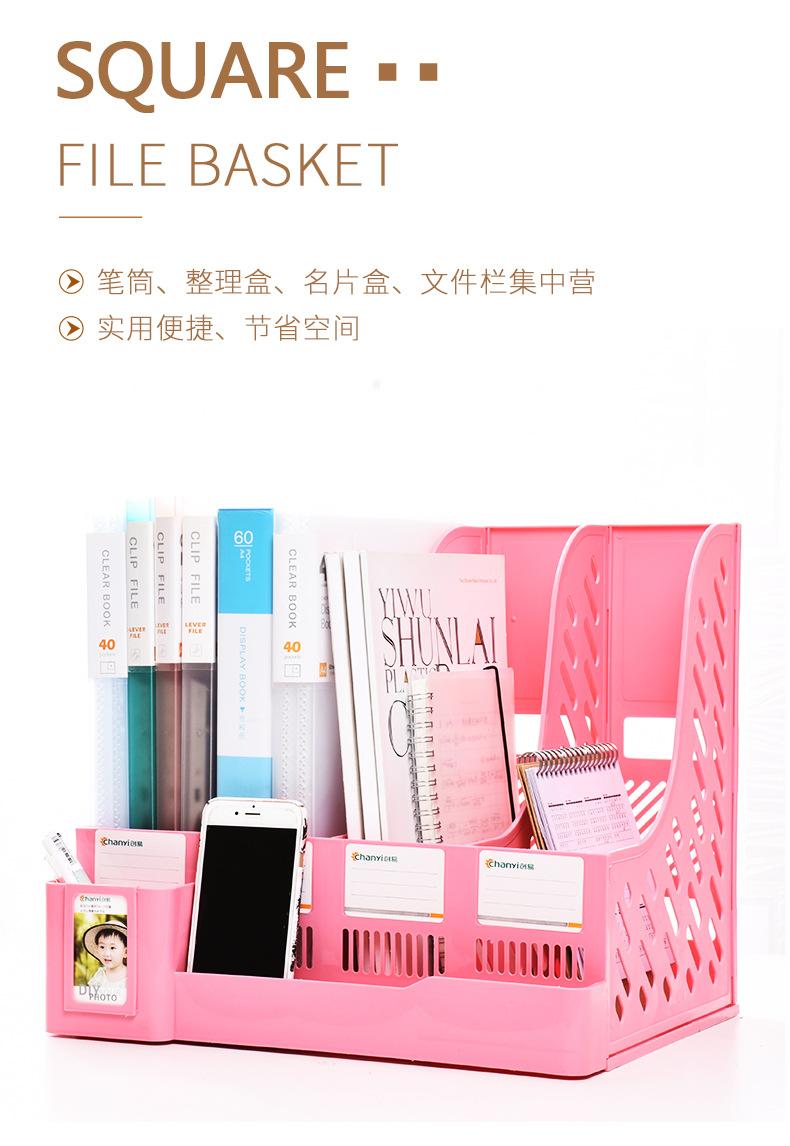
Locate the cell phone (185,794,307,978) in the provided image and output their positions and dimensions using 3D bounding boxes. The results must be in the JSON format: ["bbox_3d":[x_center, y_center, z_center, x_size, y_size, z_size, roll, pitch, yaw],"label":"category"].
[{"bbox_3d":[-0.170,0.356,1.179,0.130,0.190,0.036,-2,-10,17],"label":"cell phone"}]

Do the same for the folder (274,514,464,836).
[{"bbox_3d":[-0.063,0.157,1.410,0.222,0.390,0.397,5,-6,16],"label":"folder"}]

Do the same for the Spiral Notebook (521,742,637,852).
[{"bbox_3d":[0.239,0.293,1.290,0.116,0.128,0.024,-6,-39,-7],"label":"Spiral Notebook"}]
